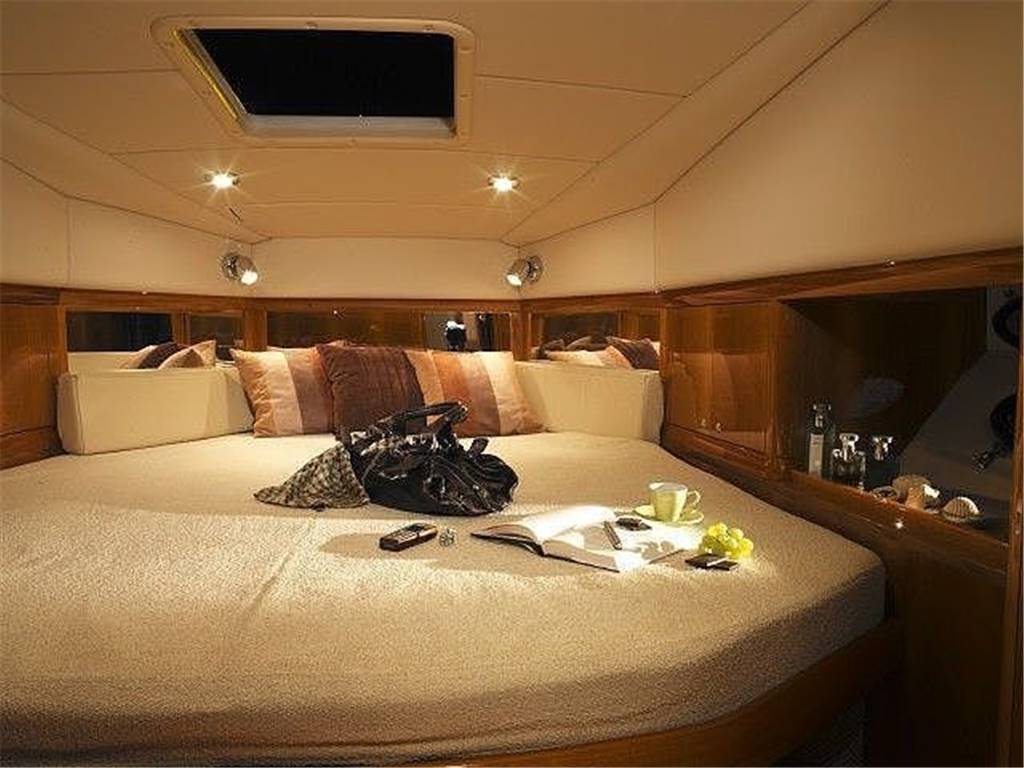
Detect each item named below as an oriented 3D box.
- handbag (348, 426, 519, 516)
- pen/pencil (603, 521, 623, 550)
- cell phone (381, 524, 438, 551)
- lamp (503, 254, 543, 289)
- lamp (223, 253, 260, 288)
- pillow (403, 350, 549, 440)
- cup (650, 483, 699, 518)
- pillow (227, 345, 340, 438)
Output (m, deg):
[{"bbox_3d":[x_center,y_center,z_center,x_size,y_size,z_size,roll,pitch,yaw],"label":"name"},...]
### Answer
[{"bbox_3d":[-0.251,0.301,2.071,0.408,0.138,0.298,4,6,12],"label":"handbag"},{"bbox_3d":[0.265,0.392,1.648,0.023,0.012,0.083,-32,14,2],"label":"pen/pencil"},{"bbox_3d":[-0.270,0.400,1.691,0.059,0.023,0.103,6,10,31],"label":"cell phone"},{"bbox_3d":[0.081,-0.706,4.029,0.228,0.168,0.069,-46,-9,31],"label":"lamp"},{"bbox_3d":[-1.607,-0.688,3.842,0.157,0.189,0.314,-2,4,9],"label":"lamp"},{"bbox_3d":[-0.186,0.063,3.114,0.406,0.272,0.147,-15,-1,-24],"label":"pillow"},{"bbox_3d":[0.474,0.340,1.877,0.150,0.092,0.109,3,-4,-36],"label":"cup"},{"bbox_3d":[-1.105,0.049,3.112,0.208,0.268,0.385,6,24,32],"label":"pillow"}]
